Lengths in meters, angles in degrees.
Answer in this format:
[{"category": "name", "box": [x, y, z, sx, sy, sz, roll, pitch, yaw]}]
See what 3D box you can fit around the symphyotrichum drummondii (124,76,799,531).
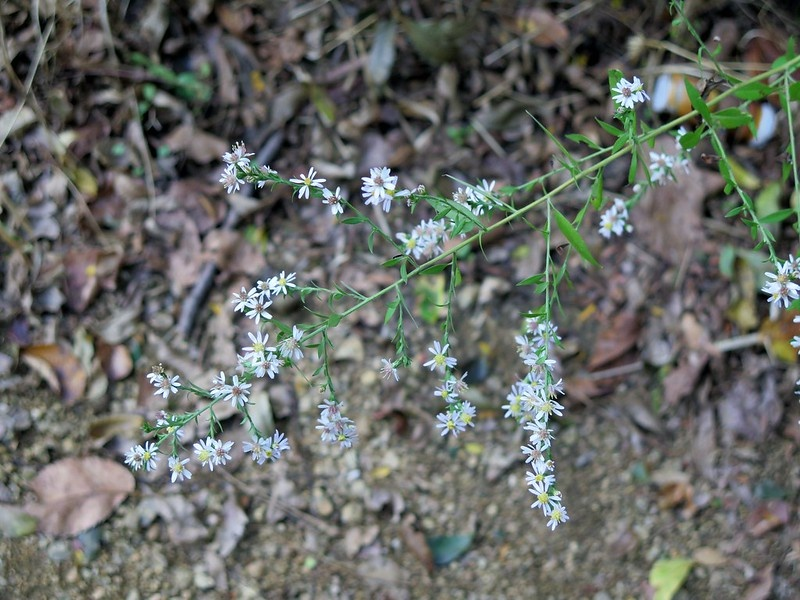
[{"category": "symphyotrichum drummondii", "box": [0.194, -0.045, 2.171, 1.830, 0.405, 1.380, -16, 71, 2]}]
